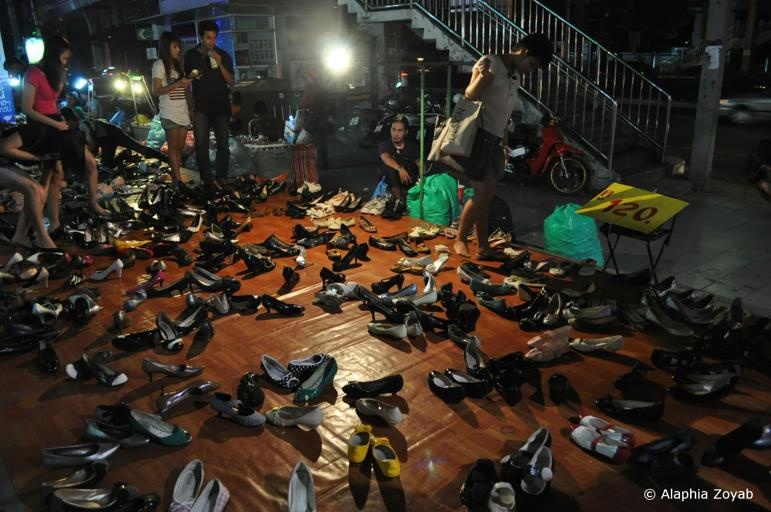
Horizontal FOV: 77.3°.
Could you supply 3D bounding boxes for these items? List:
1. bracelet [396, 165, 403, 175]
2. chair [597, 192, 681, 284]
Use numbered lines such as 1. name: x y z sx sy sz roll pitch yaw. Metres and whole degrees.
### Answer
1. bracelet: 0.184 -1.155 6.476 0.045 0.048 0.126 -4 40 14
2. chair: 2.274 -0.100 4.377 0.725 0.614 0.657 10 1 4
